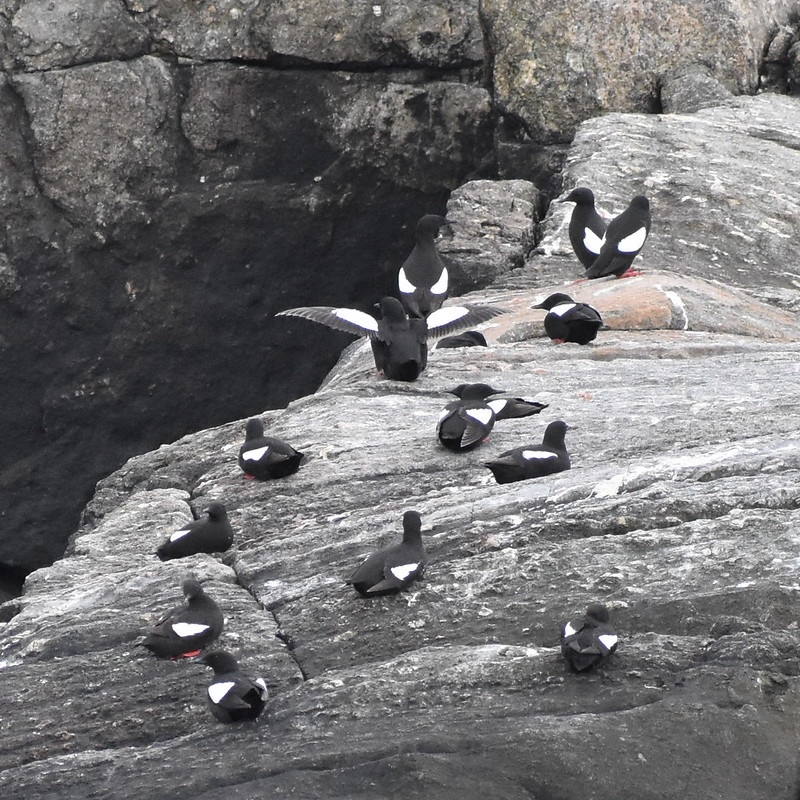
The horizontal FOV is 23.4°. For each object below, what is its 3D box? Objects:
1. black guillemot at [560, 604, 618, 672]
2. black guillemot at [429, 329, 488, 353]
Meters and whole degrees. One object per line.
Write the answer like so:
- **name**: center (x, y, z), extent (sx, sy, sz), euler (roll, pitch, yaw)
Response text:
- **black guillemot**: center (1.055, 1.311, 10.660), extent (0.320, 0.197, 0.496), euler (17, 31, 13)
- **black guillemot**: center (0.466, -0.464, 14.885), extent (0.469, 0.171, 0.140), euler (-4, 22, 5)
